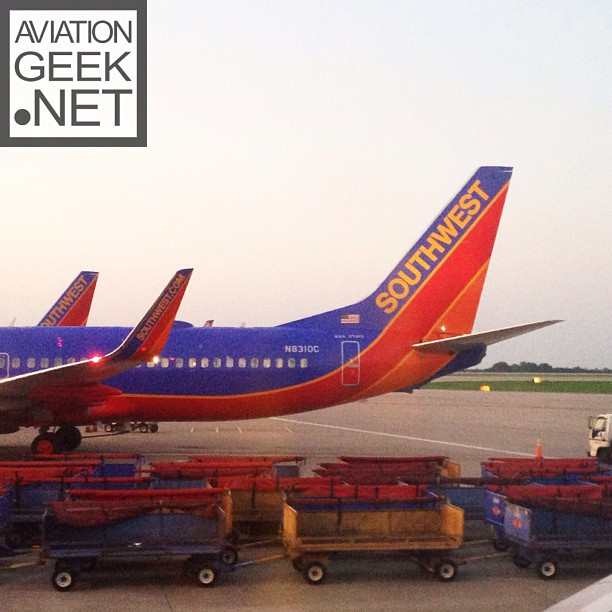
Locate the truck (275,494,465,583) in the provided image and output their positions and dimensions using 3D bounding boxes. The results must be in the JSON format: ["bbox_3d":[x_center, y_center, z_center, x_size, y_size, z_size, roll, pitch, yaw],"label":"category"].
[{"bbox_3d":[1.390,5.120,21.416,3.802,1.208,1.791,-1,-1,-2],"label":"truck"}]

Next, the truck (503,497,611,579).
[{"bbox_3d":[5.507,4.946,21.500,2.916,0.992,1.257,-2,0,-4],"label":"truck"}]

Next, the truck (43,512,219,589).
[{"bbox_3d":[-3.286,5.079,21.251,4.263,1.356,2.277,-6,-7,17],"label":"truck"}]
